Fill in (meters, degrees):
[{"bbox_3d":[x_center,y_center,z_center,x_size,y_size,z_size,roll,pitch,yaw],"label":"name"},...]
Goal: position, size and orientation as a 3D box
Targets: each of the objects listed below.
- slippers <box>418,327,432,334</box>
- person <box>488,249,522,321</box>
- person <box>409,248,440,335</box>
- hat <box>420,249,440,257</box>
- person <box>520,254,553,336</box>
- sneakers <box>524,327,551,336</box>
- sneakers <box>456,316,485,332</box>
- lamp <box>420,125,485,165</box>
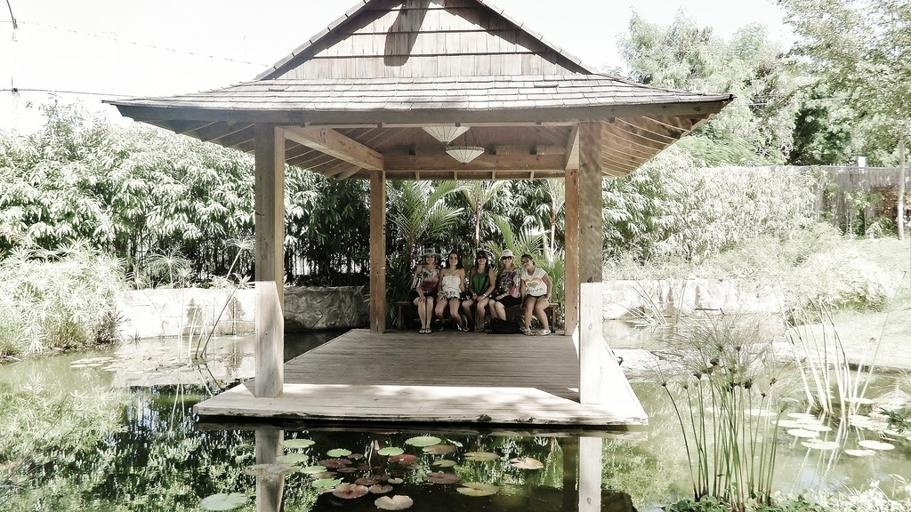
[{"bbox_3d":[-0.687,1.680,15.121,0.304,0.116,0.346,-2,-4,-1],"label":"slippers"},{"bbox_3d":[1.088,0.665,14.995,0.705,1.536,0.370,-2,-3,6],"label":"person"},{"bbox_3d":[-0.653,0.845,15.259,0.616,1.796,0.697,-2,-3,-3],"label":"person"},{"bbox_3d":[-0.587,-0.074,15.253,0.308,0.237,0.579,-1,-4,-4],"label":"hat"},{"bbox_3d":[1.792,0.863,14.993,0.674,1.794,0.597,-2,-3,4],"label":"person"},{"bbox_3d":[1.830,1.704,14.939,0.553,0.235,0.206,3,-7,3],"label":"sneakers"},{"bbox_3d":[0.370,1.586,15.428,0.660,0.238,0.254,1,3,12],"label":"sneakers"},{"bbox_3d":[-0.008,-2.343,13.176,0.855,1.150,0.862,3,-5,-43],"label":"lamp"}]
